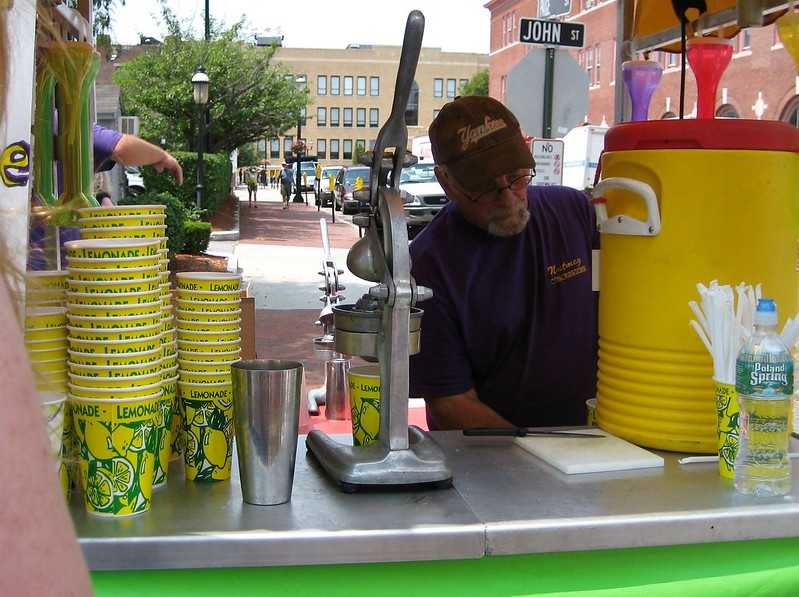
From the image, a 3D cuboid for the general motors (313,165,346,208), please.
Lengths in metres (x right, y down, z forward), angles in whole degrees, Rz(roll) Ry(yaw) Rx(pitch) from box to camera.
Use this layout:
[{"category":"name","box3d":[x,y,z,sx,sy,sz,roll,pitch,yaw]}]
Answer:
[{"category":"general motors","box3d":[-2.742,-4.978,38.548,1.994,1.975,4.341,-2,7,-8]}]

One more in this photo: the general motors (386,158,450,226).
[{"category":"general motors","box3d":[0.402,-2.523,20.894,1.567,1.249,2.681,-3,8,-5]}]

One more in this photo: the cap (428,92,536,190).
[{"category":"cap","box3d":[0.262,-0.543,2.990,0.262,0.217,0.374,-24,36,-10]}]

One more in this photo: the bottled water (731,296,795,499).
[{"category":"bottled water","box3d":[0.842,0.219,1.969,0.162,0.436,0.094,-1,5,-9]}]

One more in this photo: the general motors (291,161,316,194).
[{"category":"general motors","box3d":[-5.357,-7.209,51.411,1.912,1.887,3.692,-2,9,-14]}]

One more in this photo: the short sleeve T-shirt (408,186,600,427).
[{"category":"short sleeve T-shirt","box3d":[0.363,0.053,2.987,0.793,0.745,0.435,-3,7,-8]}]
